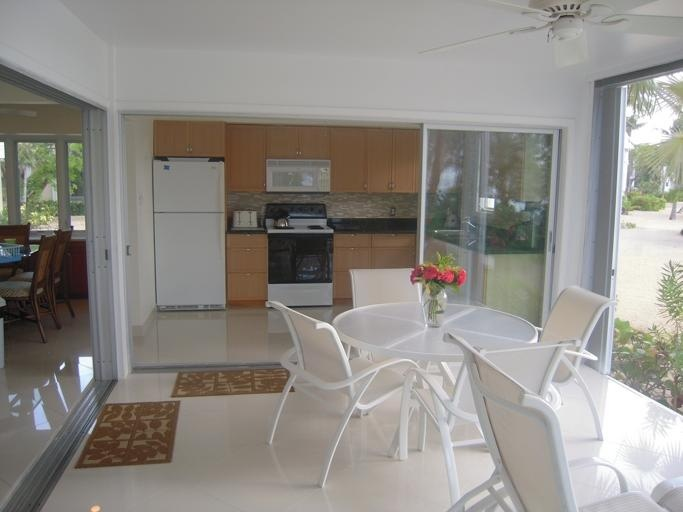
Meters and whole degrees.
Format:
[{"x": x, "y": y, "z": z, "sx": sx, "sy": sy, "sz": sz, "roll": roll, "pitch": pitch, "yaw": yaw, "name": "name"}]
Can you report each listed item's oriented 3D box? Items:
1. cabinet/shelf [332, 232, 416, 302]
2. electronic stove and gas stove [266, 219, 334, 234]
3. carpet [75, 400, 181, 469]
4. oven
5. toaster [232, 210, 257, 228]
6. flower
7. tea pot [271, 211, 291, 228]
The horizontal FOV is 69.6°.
[{"x": 0.311, "y": 0.097, "z": 5.642, "sx": 0.870, "sy": 0.776, "sz": 0.346, "roll": 0, "pitch": 3, "yaw": -8, "name": "cabinet/shelf"}, {"x": -0.575, "y": -0.400, "z": 6.732, "sx": 0.896, "sy": 0.125, "sz": 0.784, "roll": -2, "pitch": 14, "yaw": -9, "name": "electronic stove and gas stove"}, {"x": -1.468, "y": 1.253, "z": 3.524, "sx": 0.603, "sy": 0.030, "sz": 0.792, "roll": -2, "pitch": 14, "yaw": -10, "name": "carpet"}, {"x": -0.561, "y": 0.110, "z": 6.723, "sx": 0.972, "sy": 1.097, "sz": 0.849, "roll": -3, "pitch": 18, "yaw": -18, "name": "oven"}, {"x": -1.299, "y": -0.487, "z": 6.628, "sx": 0.318, "sy": 0.241, "sz": 0.219, "roll": 0, "pitch": 17, "yaw": -6, "name": "toaster"}, {"x": 0.674, "y": 0.181, "z": 3.601, "sx": 0.429, "sy": 0.622, "sz": 0.498, "roll": 1, "pitch": 6, "yaw": 10, "name": "flower"}, {"x": -0.830, "y": -0.496, "z": 6.809, "sx": 0.252, "sy": 0.244, "sz": 0.189, "roll": -5, "pitch": 22, "yaw": -14, "name": "tea pot"}]
